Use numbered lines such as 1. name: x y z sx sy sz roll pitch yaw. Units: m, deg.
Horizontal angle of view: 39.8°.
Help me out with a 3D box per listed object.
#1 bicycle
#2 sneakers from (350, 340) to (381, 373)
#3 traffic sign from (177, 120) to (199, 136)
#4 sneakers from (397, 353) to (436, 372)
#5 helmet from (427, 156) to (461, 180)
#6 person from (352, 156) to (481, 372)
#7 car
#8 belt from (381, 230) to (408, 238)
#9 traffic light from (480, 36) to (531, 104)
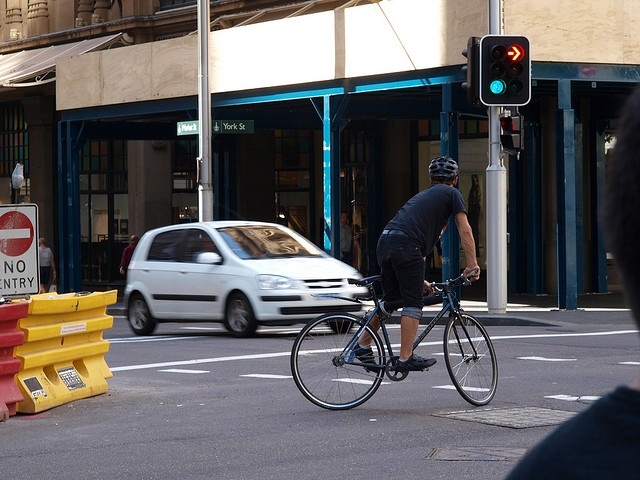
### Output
1. bicycle: 0.626 0.838 7.734 1.795 1.269 0.894 -3 -2 -8
2. sneakers: 0.371 0.956 7.327 0.330 0.153 0.115 32 -7 -5
3. traffic sign: -2.873 -2.453 19.356 0.220 0.280 0.921 -5 7 -28
4. sneakers: 0.768 1.003 7.276 0.355 0.175 0.137 -4 2 -5
5. helmet: 1.079 -0.625 7.757 0.170 0.231 0.233 7 16 15
6. person: 0.894 0.247 7.387 0.811 1.816 0.743 -5 7 -31
7. car: -1.263 0.617 13.403 3.019 1.504 1.812 -7 -9 42
8. belt: 0.601 -0.060 7.327 0.101 0.052 0.271 -6 8 -34
9. traffic light: 2.910 -2.723 14.028 0.882 1.408 0.296 -1 6 -9
